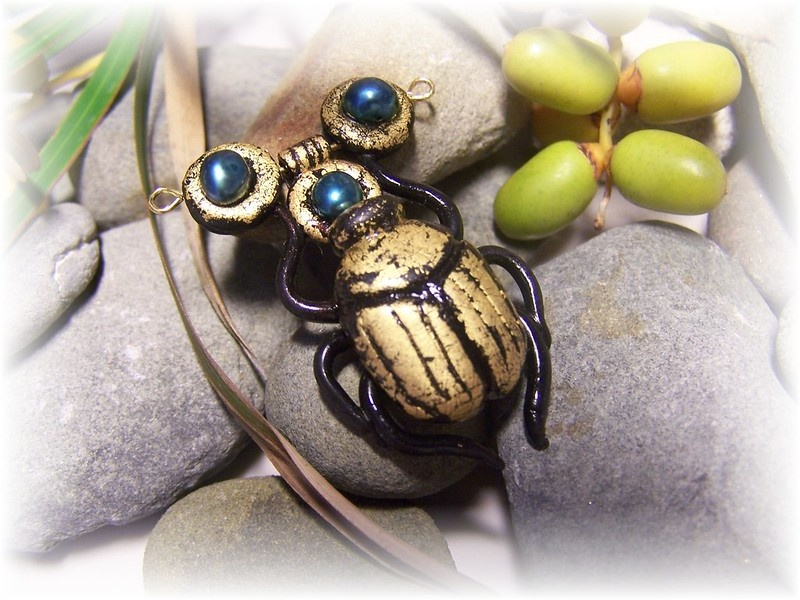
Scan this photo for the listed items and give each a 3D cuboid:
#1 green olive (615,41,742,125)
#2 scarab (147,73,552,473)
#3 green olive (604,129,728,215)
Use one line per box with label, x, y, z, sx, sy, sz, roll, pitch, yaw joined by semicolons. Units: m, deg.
green olive;0.392;-0.302;1.146;0.167;0.105;0.100;-11;81;0
scarab;-0.017;-0.040;1.116;0.425;0.200;0.656;-38;82;-4
green olive;0.371;-0.177;1.110;0.160;0.065;0.102;22;83;5
